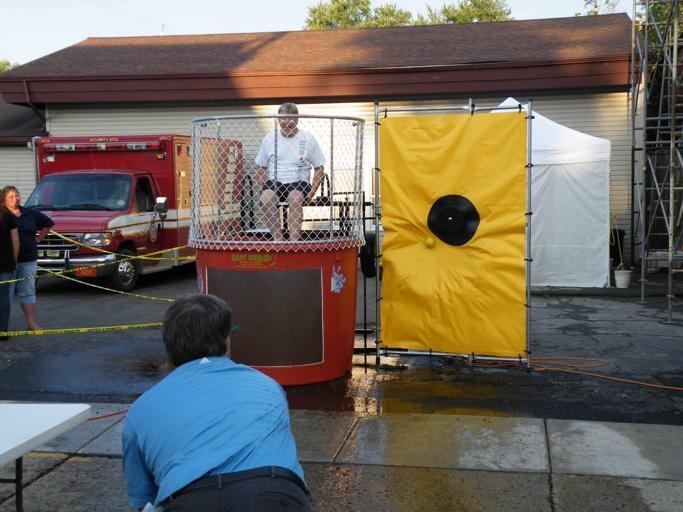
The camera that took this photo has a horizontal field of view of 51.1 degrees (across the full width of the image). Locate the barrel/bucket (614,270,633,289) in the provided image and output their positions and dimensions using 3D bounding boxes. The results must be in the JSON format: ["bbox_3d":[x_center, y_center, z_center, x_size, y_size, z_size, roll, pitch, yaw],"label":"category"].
[{"bbox_3d":[5.439,0.473,13.915,0.394,0.306,0.357,1,-1,28],"label":"barrel/bucket"}]

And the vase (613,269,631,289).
[{"bbox_3d":[5.393,0.479,13.909,0.375,0.323,0.347,0,-2,32],"label":"vase"}]

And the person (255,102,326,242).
[{"bbox_3d":[-0.560,-0.930,7.861,0.764,1.488,0.728,-2,6,-7],"label":"person"}]

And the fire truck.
[{"bbox_3d":[-4.811,-1.160,15.939,3.210,2.875,5.977,4,7,14],"label":"fire truck"}]
